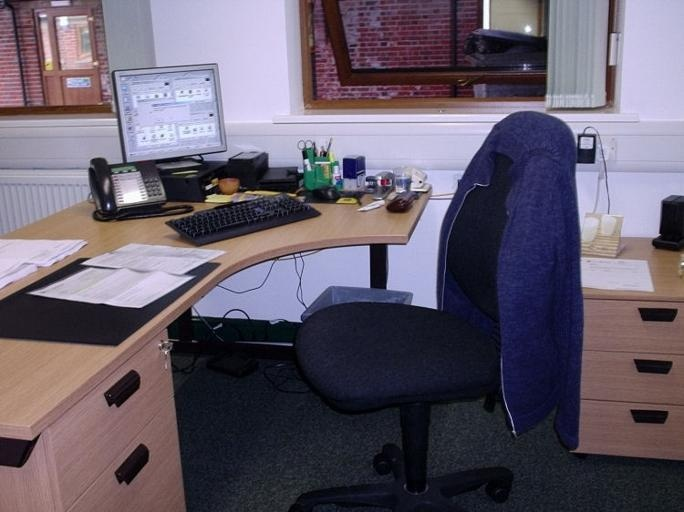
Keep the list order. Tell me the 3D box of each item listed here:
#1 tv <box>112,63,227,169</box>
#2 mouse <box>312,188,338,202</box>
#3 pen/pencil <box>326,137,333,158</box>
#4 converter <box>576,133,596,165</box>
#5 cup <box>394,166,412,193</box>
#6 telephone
[{"bbox_3d":[-0.758,-0.620,2.489,0.617,0.471,0.064,-8,13,-23],"label":"tv"},{"bbox_3d":[-0.070,-0.261,2.376,0.097,0.029,0.056,8,26,36],"label":"mouse"},{"bbox_3d":[-0.056,-0.506,2.613,0.019,0.018,0.164,-9,34,19],"label":"pen/pencil"},{"bbox_3d":[1.101,-0.481,2.500,0.084,0.134,0.079,11,34,34],"label":"converter"},{"bbox_3d":[0.275,-0.343,2.512,0.087,0.116,0.129,3,12,17],"label":"cup"},{"bbox_3d":[-0.860,-0.262,2.269,0.358,0.152,0.302,-10,35,-27],"label":"telephone"}]
